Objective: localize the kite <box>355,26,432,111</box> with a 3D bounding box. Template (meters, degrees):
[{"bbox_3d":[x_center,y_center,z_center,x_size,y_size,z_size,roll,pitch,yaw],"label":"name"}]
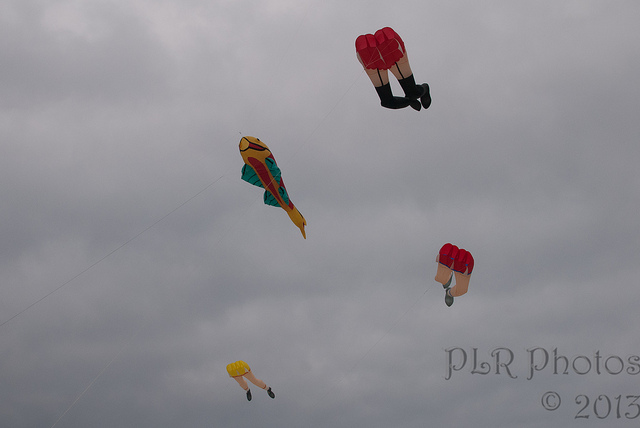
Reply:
[{"bbox_3d":[1.594,-2.997,18.899,1.055,0.843,2.268,-18,-52,26],"label":"kite"}]

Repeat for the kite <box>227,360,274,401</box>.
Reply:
[{"bbox_3d":[-1.669,3.860,20.321,0.801,0.906,0.884,-12,-46,16],"label":"kite"}]

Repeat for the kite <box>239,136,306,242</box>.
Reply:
[{"bbox_3d":[-1.095,-0.809,17.541,0.343,0.933,1.935,-25,-85,15],"label":"kite"}]
